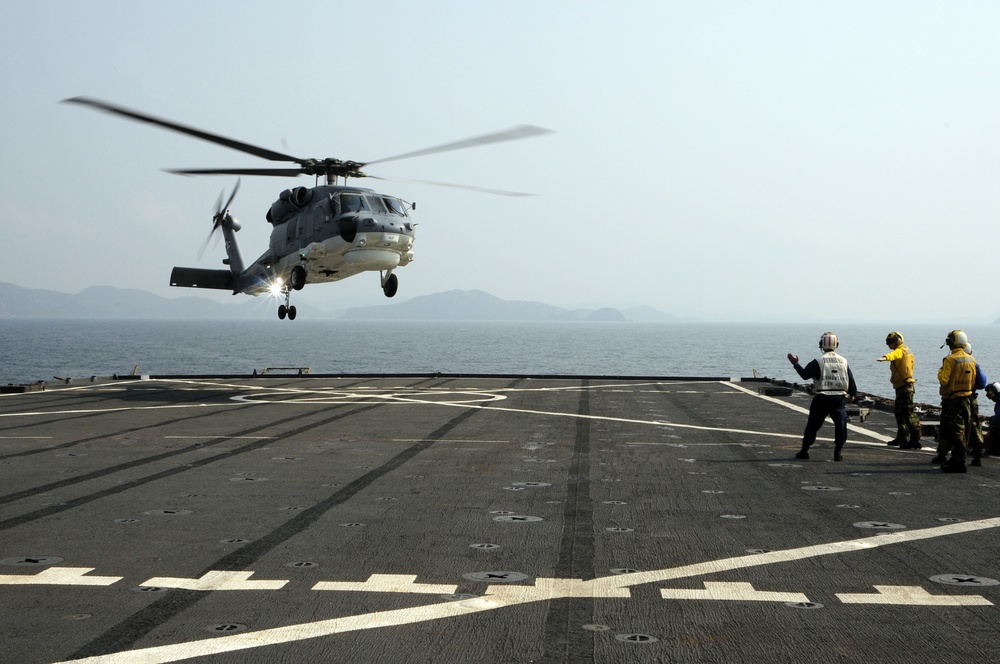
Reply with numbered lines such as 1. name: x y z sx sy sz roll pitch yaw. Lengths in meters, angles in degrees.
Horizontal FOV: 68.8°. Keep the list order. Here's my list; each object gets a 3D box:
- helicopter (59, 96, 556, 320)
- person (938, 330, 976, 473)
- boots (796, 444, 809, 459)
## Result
1. helicopter: -7.290 -4.071 27.556 10.265 3.368 10.396 2 -5 -38
2. person: 8.441 1.246 13.498 0.593 2.507 1.349 0 0 32
3. boots: 5.892 2.303 14.231 0.251 0.290 0.472 0 0 21
